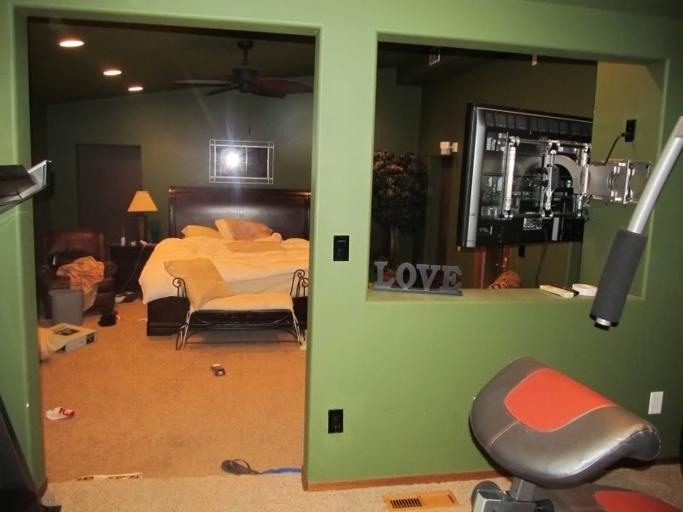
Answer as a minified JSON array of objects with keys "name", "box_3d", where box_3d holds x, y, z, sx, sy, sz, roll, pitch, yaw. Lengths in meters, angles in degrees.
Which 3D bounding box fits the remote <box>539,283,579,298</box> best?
[{"name":"remote","box_3d":[1.398,0.217,3.433,0.182,0.045,0.237,-6,13,-31]}]

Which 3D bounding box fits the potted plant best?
[{"name":"potted plant","box_3d":[0.874,-0.700,8.027,0.828,1.705,0.554,2,12,6]}]

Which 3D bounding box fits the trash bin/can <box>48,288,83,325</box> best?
[{"name":"trash bin/can","box_3d":[-2.904,0.529,5.664,0.361,0.389,0.320,-2,11,-30]}]

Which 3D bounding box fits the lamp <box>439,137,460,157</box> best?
[{"name":"lamp","box_3d":[1.483,-1.505,7.371,0.211,0.168,0.195,0,-1,5]}]

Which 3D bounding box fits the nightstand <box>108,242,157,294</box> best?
[{"name":"nightstand","box_3d":[-2.649,0.156,6.729,0.630,0.621,0.258,-1,5,-16]}]

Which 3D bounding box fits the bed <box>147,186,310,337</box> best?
[{"name":"bed","box_3d":[-1.332,-0.016,7.023,2.254,1.665,2.405,4,11,-7]}]

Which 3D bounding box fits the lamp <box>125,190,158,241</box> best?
[{"name":"lamp","box_3d":[-2.787,-0.512,7.471,0.447,0.769,0.455,-8,-7,37]}]

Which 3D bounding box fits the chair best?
[{"name":"chair","box_3d":[-3.210,0.240,6.428,0.823,1.139,1.153,-1,4,-33]}]

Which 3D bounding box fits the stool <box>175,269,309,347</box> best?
[{"name":"stool","box_3d":[-0.914,0.449,5.637,1.128,0.680,0.868,0,10,-10]}]

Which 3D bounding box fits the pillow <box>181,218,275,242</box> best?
[{"name":"pillow","box_3d":[-1.555,-0.377,7.543,1.311,0.258,0.658,-2,12,-16]}]

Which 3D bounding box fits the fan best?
[{"name":"fan","box_3d":[-0.849,-1.903,5.893,0.992,0.398,1.008,-1,9,-24]}]

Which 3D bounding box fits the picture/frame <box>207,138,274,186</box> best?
[{"name":"picture/frame","box_3d":[-1.481,-1.380,7.884,0.904,0.675,0.035,0,-11,-6]}]
